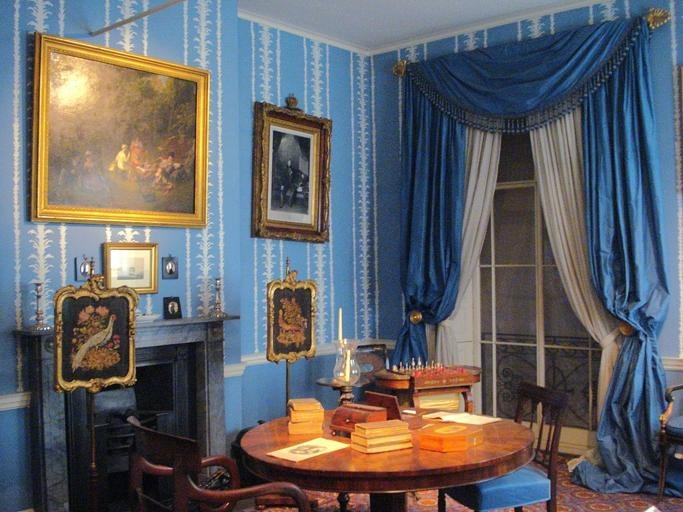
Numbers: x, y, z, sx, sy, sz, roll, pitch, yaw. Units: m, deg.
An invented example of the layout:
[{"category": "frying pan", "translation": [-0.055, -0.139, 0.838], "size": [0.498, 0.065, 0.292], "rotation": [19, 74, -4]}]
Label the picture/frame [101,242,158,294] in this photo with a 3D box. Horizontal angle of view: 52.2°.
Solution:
[{"category": "picture/frame", "translation": [-1.628, 0.089, 5.272], "size": [0.381, 0.367, 0.038], "rotation": [5, -8, -41]}]

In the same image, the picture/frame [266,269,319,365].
[{"category": "picture/frame", "translation": [-0.372, 0.464, 5.467], "size": [0.112, 0.702, 0.488], "rotation": [-1, -2, 44]}]

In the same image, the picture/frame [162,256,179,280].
[{"category": "picture/frame", "translation": [-1.372, 0.092, 5.536], "size": [0.178, 0.244, 0.031], "rotation": [1, -4, -43]}]

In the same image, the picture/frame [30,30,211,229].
[{"category": "picture/frame", "translation": [-1.739, -0.951, 5.290], "size": [1.614, 1.575, 0.109], "rotation": [1, 0, -41]}]

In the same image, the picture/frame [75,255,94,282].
[{"category": "picture/frame", "translation": [-1.896, 0.090, 5.100], "size": [0.187, 0.256, 0.026], "rotation": [2, -4, -43]}]

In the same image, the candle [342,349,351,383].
[{"category": "candle", "translation": [0.040, 0.708, 4.539], "size": [0.050, 0.213, 0.024], "rotation": [0, -2, 4]}]

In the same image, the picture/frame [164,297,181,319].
[{"category": "picture/frame", "translation": [-1.330, 0.403, 5.515], "size": [0.161, 0.166, 0.080], "rotation": [2, -2, -41]}]
